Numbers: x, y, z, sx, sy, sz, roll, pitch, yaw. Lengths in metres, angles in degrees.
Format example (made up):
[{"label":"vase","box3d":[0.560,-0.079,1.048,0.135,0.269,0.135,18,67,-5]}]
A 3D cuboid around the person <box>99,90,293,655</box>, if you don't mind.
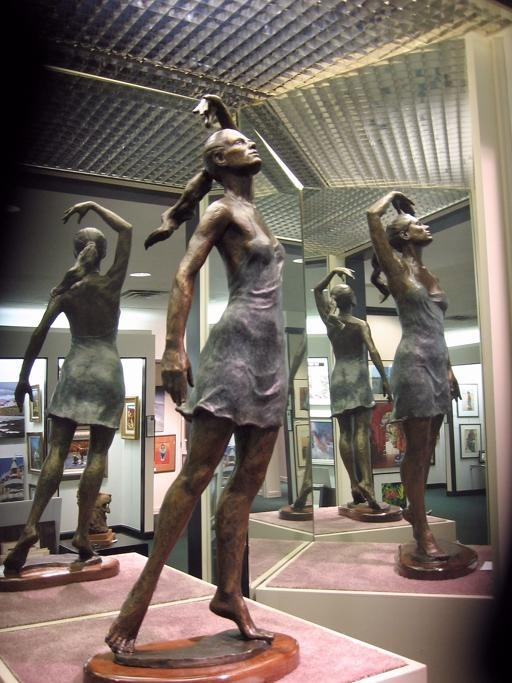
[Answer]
[{"label":"person","box3d":[-0.115,0.062,1.338,0.379,1.273,0.249,2,-8,2]}]
